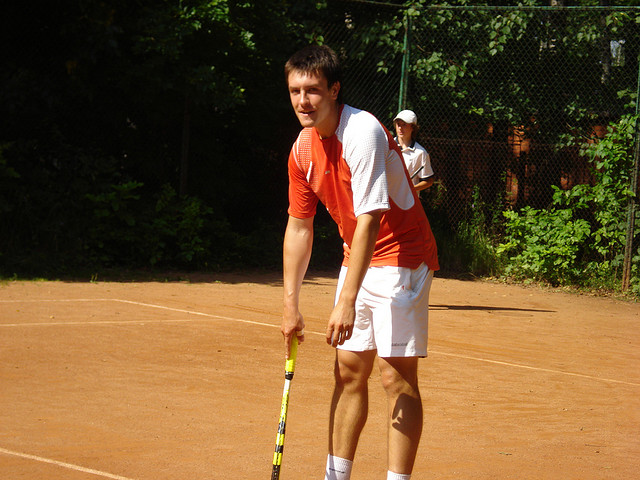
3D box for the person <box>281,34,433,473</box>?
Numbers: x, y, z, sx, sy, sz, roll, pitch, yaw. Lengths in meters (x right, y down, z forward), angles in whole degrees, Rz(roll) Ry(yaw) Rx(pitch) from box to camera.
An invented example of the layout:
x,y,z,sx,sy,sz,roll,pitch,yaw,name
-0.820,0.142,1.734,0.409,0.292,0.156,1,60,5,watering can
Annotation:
x,y,z,sx,sy,sz,roll,pitch,yaw,name
0.260,0.172,6.526,1.152,3.045,0.570,4,1,8,person
